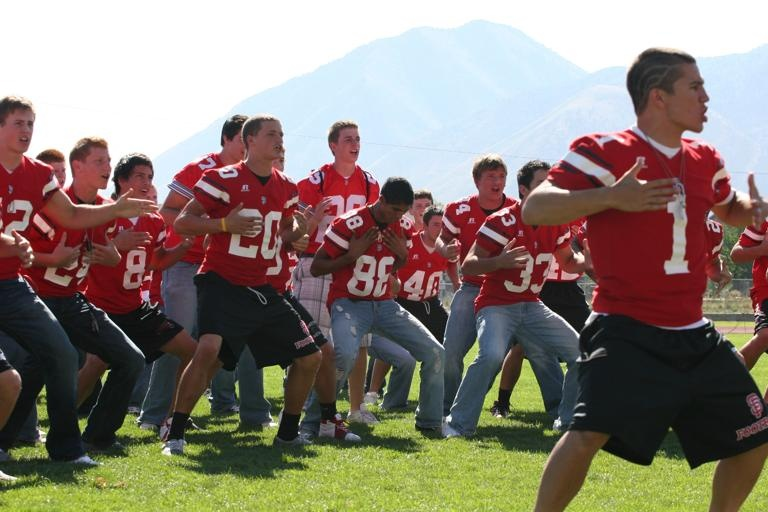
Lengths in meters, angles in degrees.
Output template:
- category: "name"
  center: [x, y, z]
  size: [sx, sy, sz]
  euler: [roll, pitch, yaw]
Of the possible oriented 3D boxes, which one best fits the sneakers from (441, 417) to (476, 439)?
- category: "sneakers"
  center: [0.744, 1.790, 7.807]
  size: [0.398, 0.248, 0.143]
  euler: [-11, -20, 32]
